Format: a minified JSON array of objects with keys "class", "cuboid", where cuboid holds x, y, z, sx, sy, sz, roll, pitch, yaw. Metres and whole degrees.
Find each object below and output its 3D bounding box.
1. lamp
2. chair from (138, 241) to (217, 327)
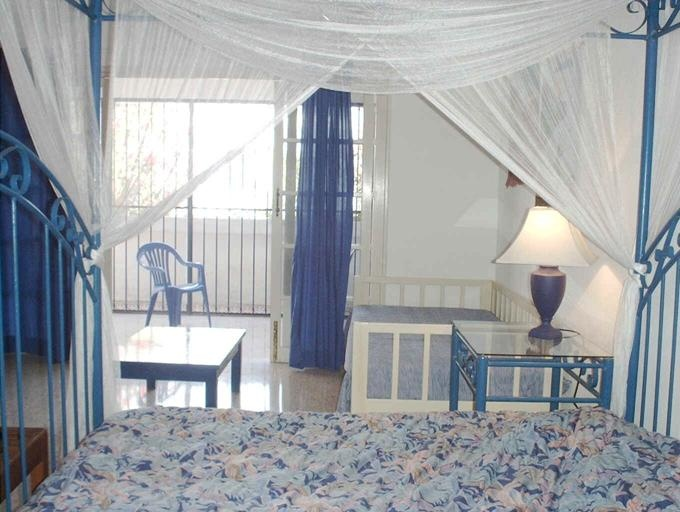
[{"class":"lamp","cuboid":[1.020,0.068,3.352,0.472,0.673,0.508,-4,-4,43]},{"class":"chair","cuboid":[-1.499,0.263,6.066,0.496,0.768,0.515,-1,4,20]}]
